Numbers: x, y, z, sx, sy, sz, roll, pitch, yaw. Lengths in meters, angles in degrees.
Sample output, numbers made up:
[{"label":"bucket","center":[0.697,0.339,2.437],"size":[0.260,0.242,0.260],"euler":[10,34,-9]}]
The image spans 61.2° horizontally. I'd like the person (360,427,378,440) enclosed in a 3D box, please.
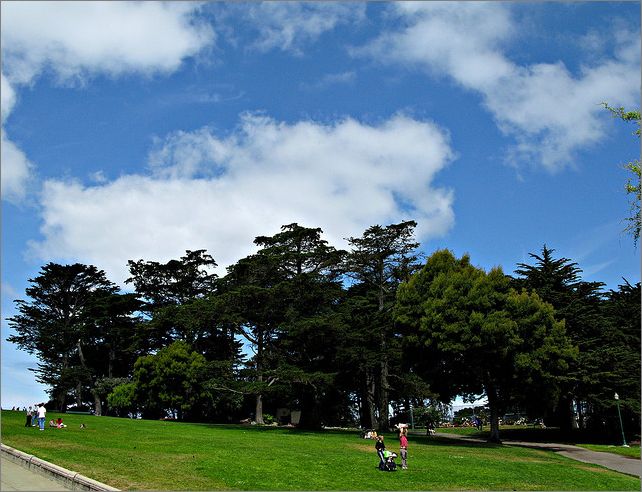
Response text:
[{"label":"person","center":[4.000,15.404,44.200],"size":[1.529,0.830,1.811],"euler":[5,-9,1]}]
